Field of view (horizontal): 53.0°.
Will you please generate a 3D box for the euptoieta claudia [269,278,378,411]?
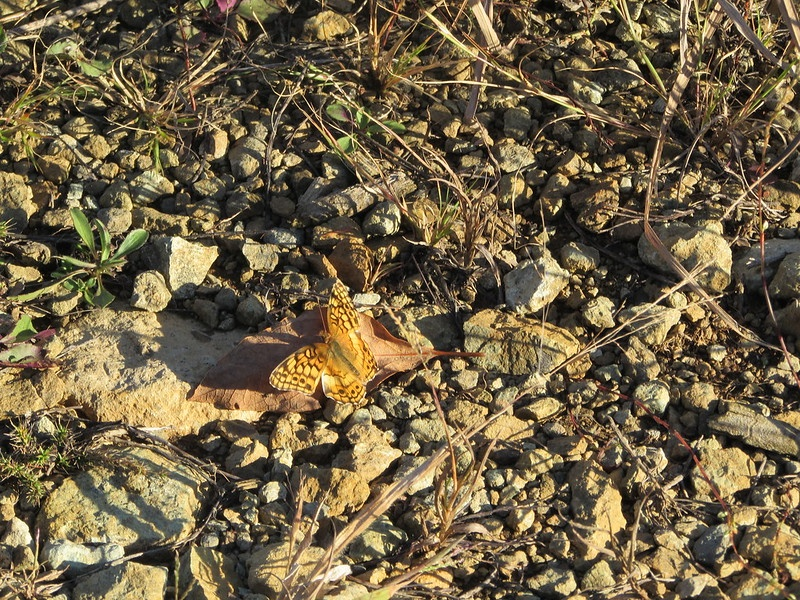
[{"bbox_3d":[-0.260,0.246,3.339,0.352,0.212,0.479,34,65,8],"label":"euptoieta claudia"}]
